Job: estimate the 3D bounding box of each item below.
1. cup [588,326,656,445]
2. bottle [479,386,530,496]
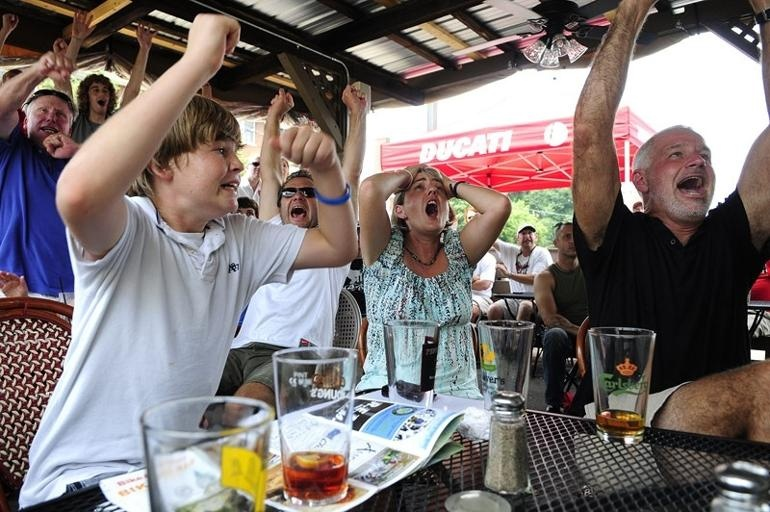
[{"bbox_3d":[0.637,0.352,1.360,0.156,0.281,0.096,1,1,25],"label":"cup"},{"bbox_3d":[0.296,0.447,1.213,0.111,0.210,0.106,1,1,0],"label":"bottle"}]
